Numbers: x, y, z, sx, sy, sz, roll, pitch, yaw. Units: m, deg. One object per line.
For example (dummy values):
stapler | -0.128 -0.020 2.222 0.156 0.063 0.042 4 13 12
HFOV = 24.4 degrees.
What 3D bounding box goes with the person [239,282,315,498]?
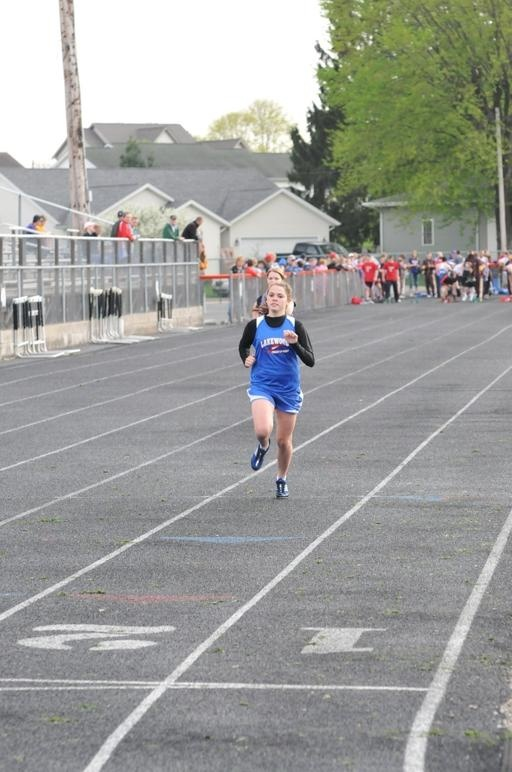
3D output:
person | 0.131 0.021 9.503 0.609 1.719 0.577 0 3 20
